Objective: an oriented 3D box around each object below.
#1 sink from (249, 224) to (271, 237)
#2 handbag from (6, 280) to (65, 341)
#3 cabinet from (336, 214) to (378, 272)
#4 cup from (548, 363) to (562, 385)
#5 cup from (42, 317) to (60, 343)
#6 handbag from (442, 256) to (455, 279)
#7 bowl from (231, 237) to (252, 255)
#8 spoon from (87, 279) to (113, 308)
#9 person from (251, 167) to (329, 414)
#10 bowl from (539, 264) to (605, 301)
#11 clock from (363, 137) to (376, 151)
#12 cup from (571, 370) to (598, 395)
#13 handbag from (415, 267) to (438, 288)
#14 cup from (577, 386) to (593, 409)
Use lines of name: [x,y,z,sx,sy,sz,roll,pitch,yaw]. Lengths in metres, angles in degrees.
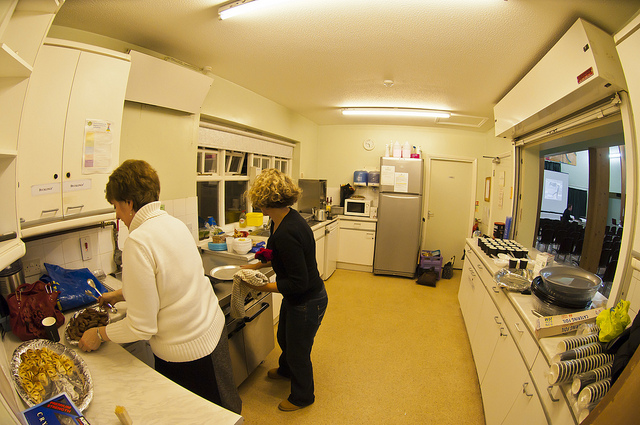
sink: [-0.728,0.203,4.790,0.184,0.128,0.206,1,5,15]
handbag: [-1.971,0.676,2.680,0.170,0.358,0.351,-13,-3,42]
cabinet: [0.613,0.394,6.372,0.658,0.875,0.598,3,15,8]
cup: [1.482,1.007,2.473,0.065,0.100,0.114,6,39,5]
cup: [-1.819,0.786,2.645,0.104,0.168,0.049,3,3,2]
handbag: [2.024,0.855,6.162,0.126,0.340,0.296,8,6,28]
bowl: [-0.781,0.320,3.940,0.162,0.117,0.163,0,-3,0]
spoon: [-1.705,0.620,3.009,0.250,0.039,0.036,42,-9,21]
person: [-0.265,0.678,3.314,0.648,2.086,0.590,3,3,1]
bowl: [1.921,0.521,2.986,0.310,0.117,0.321,-4,20,1]
clock: [0.821,-1.174,6.518,0.179,0.184,0.042,17,14,18]
cup: [1.633,1.034,2.419,0.171,0.098,0.074,-29,-6,12]
handbag: [1.585,0.934,5.830,0.316,0.232,0.404,4,3,17]
cup: [1.610,1.121,2.376,0.071,0.101,0.032,5,4,35]
